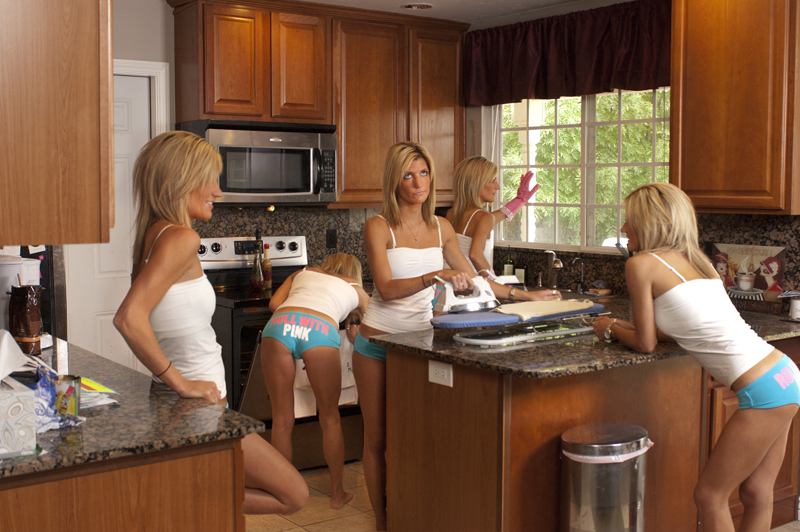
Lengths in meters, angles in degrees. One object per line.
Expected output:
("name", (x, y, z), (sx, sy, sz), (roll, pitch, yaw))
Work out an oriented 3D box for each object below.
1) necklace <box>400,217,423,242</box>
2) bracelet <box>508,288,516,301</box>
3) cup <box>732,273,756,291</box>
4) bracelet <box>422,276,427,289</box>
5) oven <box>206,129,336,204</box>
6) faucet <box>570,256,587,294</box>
("necklace", (0.057, -0.190, 3.327), (0.031, 0.100, 0.105), (-13, 5, 42))
("bracelet", (0.603, 0.155, 3.481), (0.036, 0.047, 0.054), (11, 15, 15))
("cup", (2.079, 0.092, 3.935), (0.112, 0.110, 0.082), (1, -3, 36))
("bracelet", (0.115, 0.071, 3.110), (0.024, 0.057, 0.041), (-3, 7, -2))
("oven", (-1.031, -0.740, 5.017), (1.008, 0.569, 0.600), (-4, 10, -29))
("faucet", (1.376, 0.065, 4.957), (0.087, 0.250, 0.148), (-2, 7, 0))
